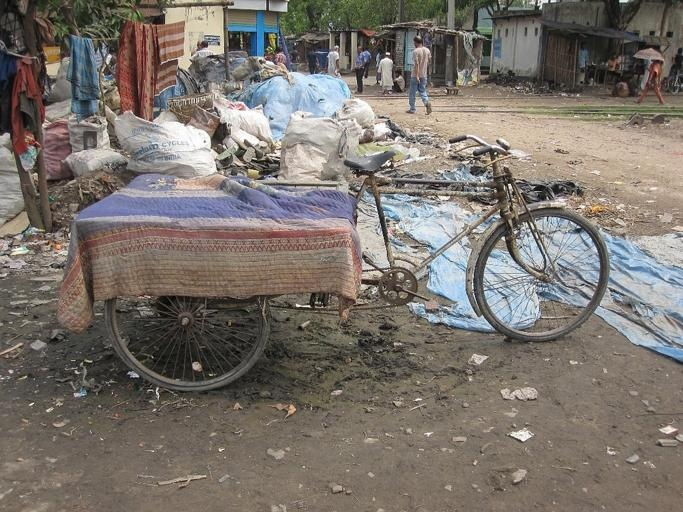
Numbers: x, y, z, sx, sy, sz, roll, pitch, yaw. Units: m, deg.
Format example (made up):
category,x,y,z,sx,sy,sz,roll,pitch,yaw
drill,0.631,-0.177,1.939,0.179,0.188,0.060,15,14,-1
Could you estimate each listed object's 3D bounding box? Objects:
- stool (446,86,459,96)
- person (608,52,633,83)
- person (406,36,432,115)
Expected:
category,x,y,z,sx,sy,sz,roll,pitch,yaw
stool,4.654,-6.978,23.678,0.691,0.221,0.637,3,21,6
person,11.393,-7.649,23.023,0.957,1.070,0.615,11,21,27
person,2.282,-5.187,16.143,0.963,2.086,0.753,21,32,38
